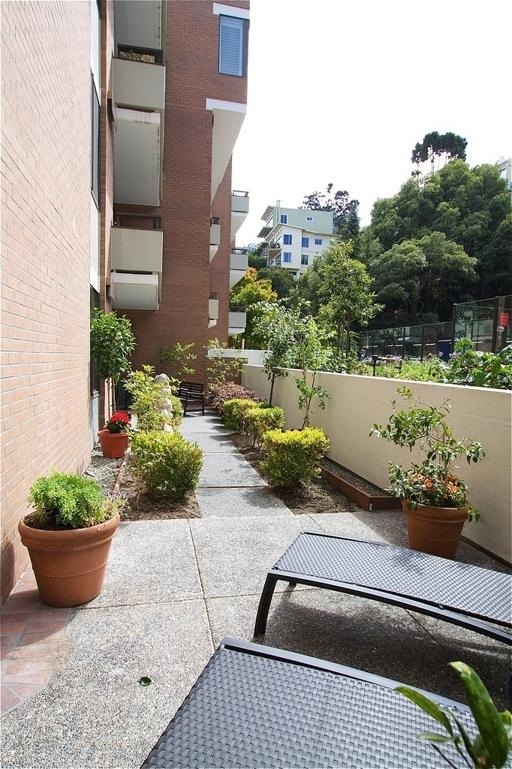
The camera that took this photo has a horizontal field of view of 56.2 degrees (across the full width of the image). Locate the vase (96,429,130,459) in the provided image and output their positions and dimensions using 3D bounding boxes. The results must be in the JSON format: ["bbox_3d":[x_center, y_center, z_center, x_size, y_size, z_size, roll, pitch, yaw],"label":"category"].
[{"bbox_3d":[-2.165,0.903,7.204,0.409,0.326,0.408,1,0,33],"label":"vase"}]

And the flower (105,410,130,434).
[{"bbox_3d":[-2.106,0.617,7.331,0.265,0.367,0.293,21,-7,-29],"label":"flower"}]

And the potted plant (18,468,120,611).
[{"bbox_3d":[-1.146,0.926,2.923,0.528,0.685,0.590,0,1,0],"label":"potted plant"}]
